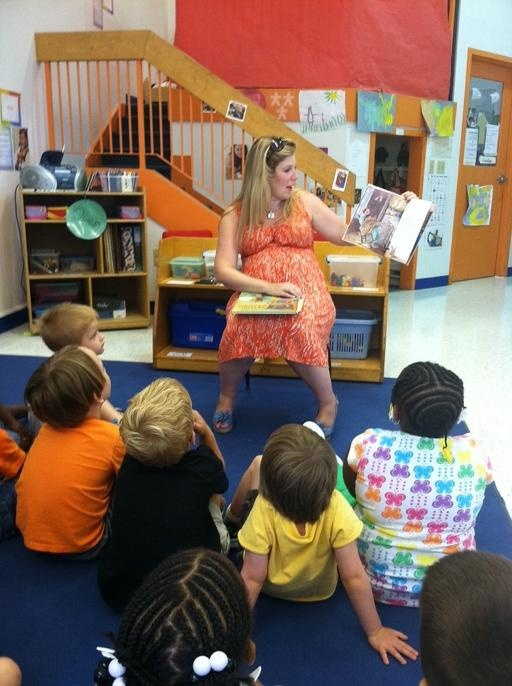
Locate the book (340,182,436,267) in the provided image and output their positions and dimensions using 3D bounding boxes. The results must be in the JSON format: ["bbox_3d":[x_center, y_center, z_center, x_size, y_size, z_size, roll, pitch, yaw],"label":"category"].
[{"bbox_3d":[0.570,-0.506,2.308,0.368,0.361,0.123,31,22,23],"label":"book"}]

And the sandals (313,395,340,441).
[{"bbox_3d":[0.329,0.366,2.590,0.080,0.246,0.094,2,-4,15],"label":"sandals"}]

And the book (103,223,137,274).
[{"bbox_3d":[-1.056,-0.769,4.505,0.319,0.572,0.432,-2,14,-10],"label":"book"}]

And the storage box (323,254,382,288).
[{"bbox_3d":[0.591,-0.435,3.268,0.273,0.171,0.187,1,8,7],"label":"storage box"}]

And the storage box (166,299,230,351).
[{"bbox_3d":[-0.349,-0.120,3.601,0.395,0.283,0.244,3,13,0],"label":"storage box"}]

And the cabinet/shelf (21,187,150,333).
[{"bbox_3d":[-1.335,-0.663,4.202,1.153,1.426,0.453,-2,15,-6],"label":"cabinet/shelf"}]

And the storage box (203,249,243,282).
[{"bbox_3d":[-0.206,-0.498,3.435,0.292,0.239,0.244,0,6,2],"label":"storage box"}]

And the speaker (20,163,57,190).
[{"bbox_3d":[-1.638,-1.237,4.111,0.265,0.195,0.157,-1,12,-14],"label":"speaker"}]

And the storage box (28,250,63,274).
[{"bbox_3d":[-1.682,-0.638,4.353,0.201,0.150,0.204,-1,6,-11],"label":"storage box"}]

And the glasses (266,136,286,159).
[{"bbox_3d":[0.093,-0.870,2.417,0.041,0.086,0.061,27,20,-23],"label":"glasses"}]

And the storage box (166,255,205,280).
[{"bbox_3d":[-0.448,-0.482,3.480,0.190,0.106,0.141,-1,13,6],"label":"storage box"}]

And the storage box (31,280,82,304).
[{"bbox_3d":[-1.610,-0.421,4.438,0.398,0.178,0.223,-3,13,-20],"label":"storage box"}]

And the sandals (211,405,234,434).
[{"bbox_3d":[-0.157,0.369,2.605,0.108,0.108,0.298,0,7,-4],"label":"sandals"}]

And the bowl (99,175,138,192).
[{"bbox_3d":[-1.085,-1.257,4.296,0.301,0.162,0.140,1,12,-3],"label":"bowl"}]
